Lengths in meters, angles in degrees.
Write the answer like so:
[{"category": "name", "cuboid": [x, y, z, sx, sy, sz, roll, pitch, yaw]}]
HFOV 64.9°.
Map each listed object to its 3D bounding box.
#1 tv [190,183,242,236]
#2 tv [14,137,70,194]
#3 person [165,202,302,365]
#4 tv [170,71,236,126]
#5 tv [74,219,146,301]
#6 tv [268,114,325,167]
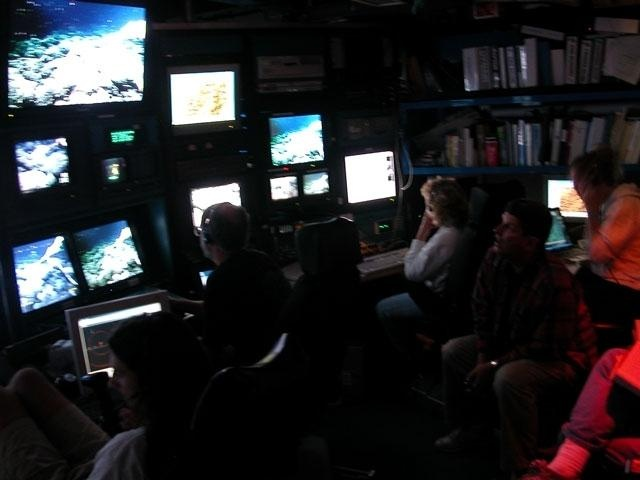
[{"category": "tv", "cuboid": [-0.695, -0.196, 3.259, 0.430, 0.324, 0.056, -8, 11, -34]}, {"category": "tv", "cuboid": [-1.611, -0.432, 2.889, 0.041, 0.282, 0.372, 5, 10, 41]}, {"category": "person", "cuboid": [-0.426, 0.237, 2.773, 0.503, 0.863, 0.400, -5, 12, 5]}, {"category": "tv", "cuboid": [-0.857, -1.023, 3.593, 0.481, 0.290, 0.048, -8, 14, -35]}, {"category": "tv", "cuboid": [-1.415, 0.108, 3.370, 0.113, 0.397, 0.491, -10, 7, 46]}, {"category": "tv", "cuboid": [-0.210, -0.812, 4.068, 0.507, 0.316, 0.049, -9, 10, -32]}]
